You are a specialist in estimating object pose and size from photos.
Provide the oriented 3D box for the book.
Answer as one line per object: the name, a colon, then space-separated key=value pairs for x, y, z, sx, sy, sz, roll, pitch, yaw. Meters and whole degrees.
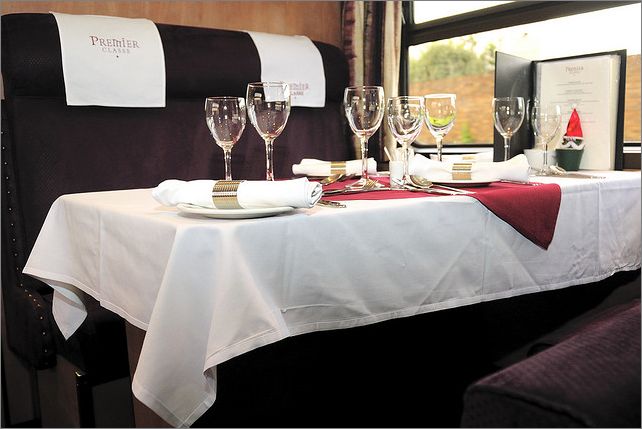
book: x=1.017 y=-0.413 z=2.033 sx=0.477 sy=0.554 sz=0.314 roll=2 pitch=9 yaw=25

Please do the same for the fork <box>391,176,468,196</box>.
fork: x=0.319 y=-0.085 z=1.416 sx=0.033 sy=0.041 sz=0.197 roll=9 pitch=2 yaw=-43

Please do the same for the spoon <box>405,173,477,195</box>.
spoon: x=0.345 y=-0.089 z=1.375 sx=0.066 sy=0.038 sz=0.212 roll=-31 pitch=27 yaw=-35

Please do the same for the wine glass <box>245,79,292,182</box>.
wine glass: x=-0.164 y=-0.244 z=1.489 sx=0.118 sy=0.353 sz=0.119 roll=-10 pitch=33 yaw=-21

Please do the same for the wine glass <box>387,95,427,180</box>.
wine glass: x=0.270 y=-0.246 z=1.511 sx=0.117 sy=0.258 sz=0.215 roll=0 pitch=15 yaw=12

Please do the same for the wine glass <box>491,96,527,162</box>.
wine glass: x=0.699 y=-0.323 z=1.784 sx=0.106 sy=0.231 sz=0.103 roll=3 pitch=16 yaw=21

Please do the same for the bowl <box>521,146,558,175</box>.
bowl: x=0.890 y=-0.185 z=1.949 sx=0.148 sy=0.121 sz=0.146 roll=1 pitch=1 yaw=0

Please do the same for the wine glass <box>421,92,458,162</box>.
wine glass: x=0.396 y=-0.290 z=1.570 sx=0.096 sy=0.217 sz=0.170 roll=2 pitch=16 yaw=19
